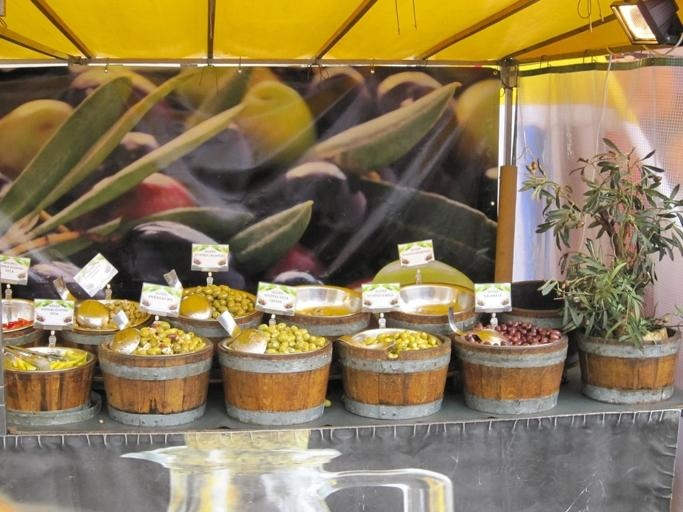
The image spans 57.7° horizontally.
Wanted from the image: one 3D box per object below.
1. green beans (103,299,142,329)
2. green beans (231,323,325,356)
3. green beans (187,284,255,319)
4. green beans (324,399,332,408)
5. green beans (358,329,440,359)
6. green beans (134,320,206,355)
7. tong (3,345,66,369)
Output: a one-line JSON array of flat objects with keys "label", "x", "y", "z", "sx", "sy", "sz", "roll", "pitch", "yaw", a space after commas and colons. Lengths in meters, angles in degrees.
[{"label": "green beans", "x": -1.860, "y": 0.485, "z": 5.326, "sx": 0.315, "sy": 0.053, "sz": 0.284, "roll": 12, "pitch": 23, "yaw": -14}, {"label": "green beans", "x": -0.470, "y": 0.626, "z": 4.617, "sx": 0.740, "sy": 0.153, "sz": 0.398, "roll": -1, "pitch": 8, "yaw": -4}, {"label": "green beans", "x": -1.081, "y": 0.389, "z": 5.432, "sx": 0.724, "sy": 0.196, "sz": 0.470, "roll": 2, "pitch": 8, "yaw": 22}, {"label": "green beans", "x": -0.106, "y": 1.155, "z": 4.854, "sx": 0.054, "sy": 0.032, "sz": 0.063, "roll": 1, "pitch": -4, "yaw": 5}, {"label": "green beans", "x": 0.464, "y": 0.658, "z": 4.733, "sx": 0.642, "sy": 0.123, "sz": 0.420, "roll": -1, "pitch": 8, "yaw": -5}, {"label": "green beans", "x": -1.308, "y": 0.603, "z": 4.622, "sx": 0.291, "sy": 0.085, "sz": 0.277, "roll": 4, "pitch": -1, "yaw": -12}, {"label": "tong", "x": -2.282, "y": 0.743, "z": 4.580, "sx": 0.243, "sy": 0.075, "sz": 0.221, "roll": 8, "pitch": -2, "yaw": -9}]
